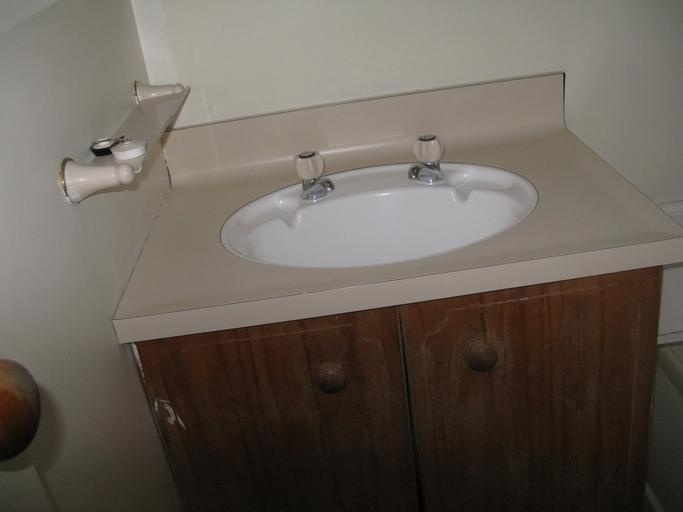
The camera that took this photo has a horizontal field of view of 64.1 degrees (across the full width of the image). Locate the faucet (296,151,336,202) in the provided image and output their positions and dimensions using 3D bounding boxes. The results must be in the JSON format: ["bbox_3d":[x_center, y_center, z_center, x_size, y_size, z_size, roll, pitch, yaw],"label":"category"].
[{"bbox_3d":[-0.062,-0.186,1.208,0.084,0.107,0.085,-18,34,-26],"label":"faucet"}]

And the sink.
[{"bbox_3d":[0.075,-0.055,1.143,0.630,0.176,0.327,-8,23,0],"label":"sink"}]
